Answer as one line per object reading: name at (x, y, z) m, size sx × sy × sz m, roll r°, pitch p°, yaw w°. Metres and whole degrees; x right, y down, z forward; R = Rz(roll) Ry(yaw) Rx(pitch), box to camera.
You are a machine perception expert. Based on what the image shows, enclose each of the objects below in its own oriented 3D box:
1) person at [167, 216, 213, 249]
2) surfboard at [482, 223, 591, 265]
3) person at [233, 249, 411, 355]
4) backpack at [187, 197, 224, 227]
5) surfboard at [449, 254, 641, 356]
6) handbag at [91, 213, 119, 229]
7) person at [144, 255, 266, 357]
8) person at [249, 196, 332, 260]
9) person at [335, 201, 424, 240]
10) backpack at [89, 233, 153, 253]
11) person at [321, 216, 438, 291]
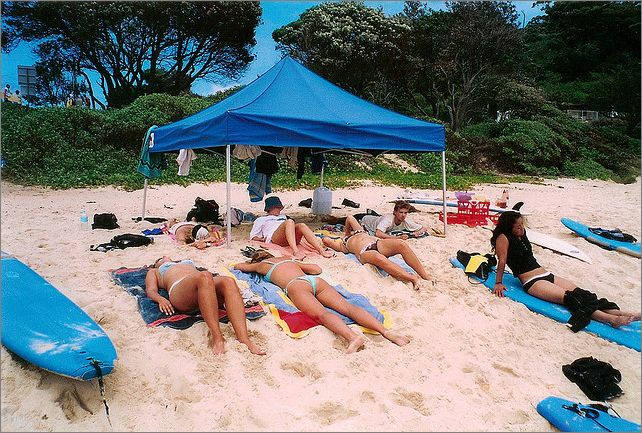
person at (-2.660, 0.352, 9.389) m, size 0.523 × 0.274 × 0.841 m, roll -11°, pitch 18°, yaw -39°
surfboard at (4.987, 0.635, 10.057) m, size 0.460 × 0.309 × 1.867 m, roll -2°, pitch 27°, yaw -29°
person at (-0.054, 1.304, 7.291) m, size 2.855 × 0.530 × 1.071 m, roll 29°, pitch 15°, yaw 37°
backpack at (-2.777, -0.119, 10.905) m, size 0.752 × 0.706 × 0.326 m, roll 10°, pitch 51°, yaw -11°
surfboard at (3.820, 1.224, 8.036) m, size 3.886 × 0.401 × 0.969 m, roll 31°, pitch -12°, yaw 33°
handbag at (-4.919, 0.113, 10.295) m, size 0.567 × 0.300 × 0.594 m, roll -8°, pitch 16°, yaw -36°
person at (-1.895, 1.222, 7.008) m, size 1.057 × 0.691 × 2.135 m, roll -4°, pitch 24°, yaw -44°
person at (-0.557, 0.170, 9.156) m, size 1.026 × 1.166 × 1.997 m, roll -2°, pitch 4°, yaw -39°
person at (1.588, 0.099, 9.806) m, size 0.755 × 0.491 × 1.156 m, roll -5°, pitch 8°, yaw -21°
backpack at (-3.984, 0.519, 9.070) m, size 1.168 × 0.212 × 0.499 m, roll -5°, pitch 15°, yaw -27°
person at (0.976, 0.748, 8.707) m, size 0.837 × 0.634 × 2.464 m, roll -31°, pitch 32°, yaw -34°
